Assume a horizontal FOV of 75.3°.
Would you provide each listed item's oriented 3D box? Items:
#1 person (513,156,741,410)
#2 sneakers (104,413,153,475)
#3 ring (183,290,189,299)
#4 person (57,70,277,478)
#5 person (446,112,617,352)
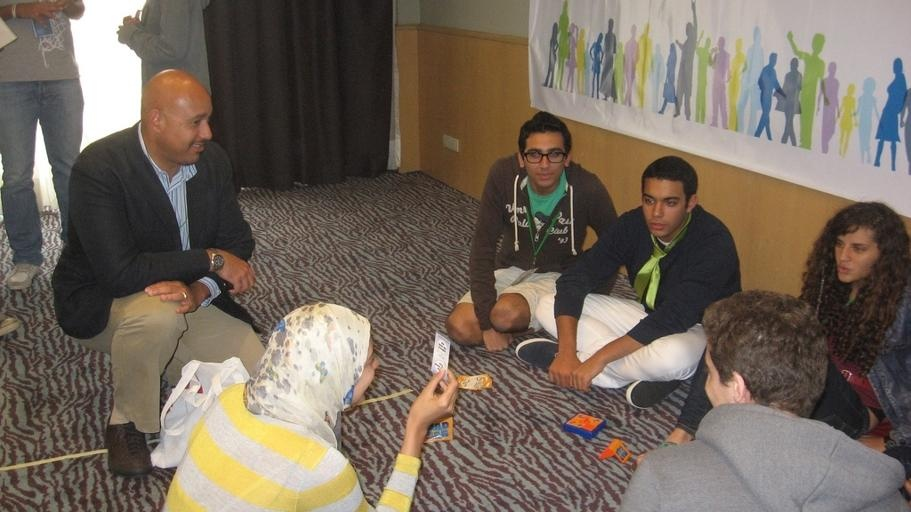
[{"bbox_3d":[1.145,0.119,3.616,1.408,1.323,1.161,-18,23,-19],"label":"person"},{"bbox_3d":[-1.773,1.027,3.175,0.226,0.242,0.188,-5,18,-16],"label":"sneakers"},{"bbox_3d":[-1.509,0.208,3.270,0.030,0.035,0.034,-9,20,-28],"label":"ring"},{"bbox_3d":[-1.764,0.112,3.566,1.400,2.204,1.123,7,14,7],"label":"person"},{"bbox_3d":[0.561,-0.147,4.103,1.070,1.601,1.202,27,54,18],"label":"person"}]
